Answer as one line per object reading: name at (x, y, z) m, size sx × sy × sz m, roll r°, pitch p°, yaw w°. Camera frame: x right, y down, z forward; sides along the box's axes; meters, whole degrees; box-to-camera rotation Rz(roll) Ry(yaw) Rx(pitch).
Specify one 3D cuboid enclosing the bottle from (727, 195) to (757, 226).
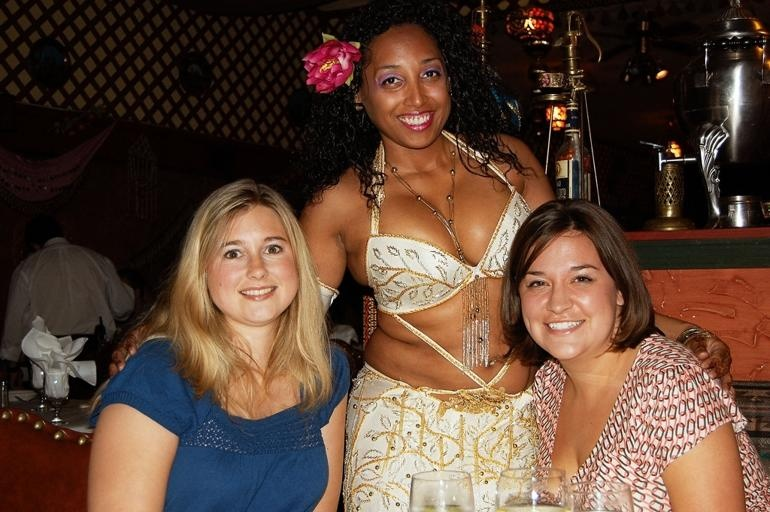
bottle at (1.546, -0.190, 3.000) m, size 0.118 × 0.131 × 0.124 m, roll 1°, pitch -5°, yaw -5°

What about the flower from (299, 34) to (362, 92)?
flower at (-0.205, -0.723, 2.621) m, size 0.080 × 0.165 × 0.138 m, roll 25°, pitch 51°, yaw 26°
